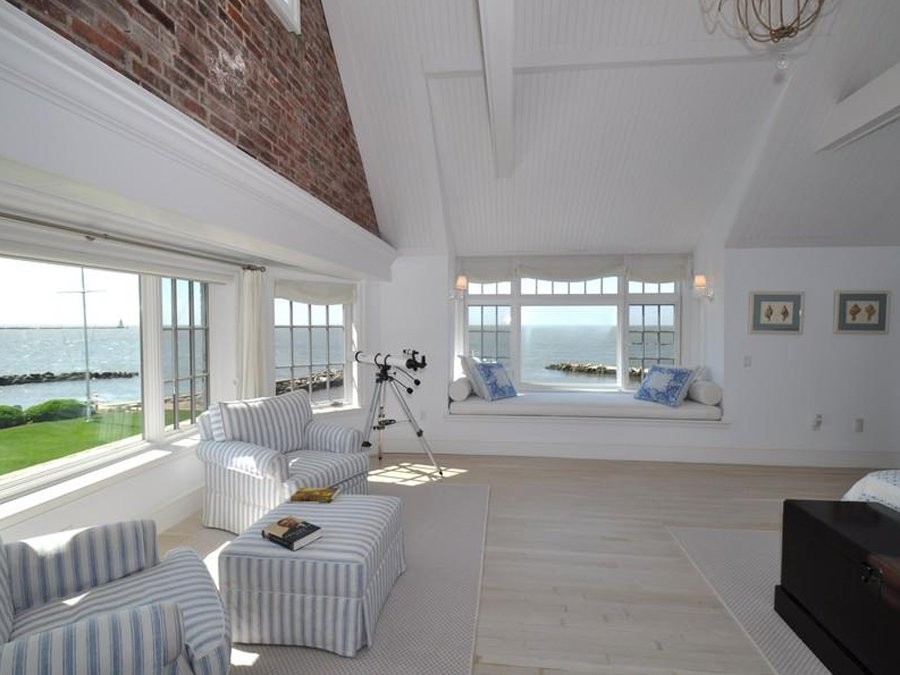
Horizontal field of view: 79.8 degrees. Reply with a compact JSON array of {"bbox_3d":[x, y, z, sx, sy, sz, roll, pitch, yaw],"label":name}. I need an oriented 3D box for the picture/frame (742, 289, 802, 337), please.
[{"bbox_3d":[3.628,-0.276,5.987,0.493,0.528,0.056,0,2,-1],"label":"picture/frame"}]

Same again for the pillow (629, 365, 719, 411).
[{"bbox_3d":[2.623,0.576,6.346,0.887,0.457,0.523,-5,-1,11],"label":"pillow"}]

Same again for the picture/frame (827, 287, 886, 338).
[{"bbox_3d":[4.510,-0.275,5.902,0.510,0.547,0.042,1,-3,6],"label":"picture/frame"}]

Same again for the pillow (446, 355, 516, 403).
[{"bbox_3d":[0.430,0.495,6.642,0.691,0.546,0.387,-4,0,2],"label":"pillow"}]

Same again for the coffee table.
[{"bbox_3d":[-0.845,1.416,3.336,0.737,0.457,0.946,0,5,5],"label":"coffee table"}]

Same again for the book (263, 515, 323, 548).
[{"bbox_3d":[-0.981,1.167,3.254,0.187,0.041,0.182,5,7,30],"label":"book"}]

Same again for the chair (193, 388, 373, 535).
[{"bbox_3d":[-1.371,0.795,4.614,1.113,1.163,1.203,-1,-1,32],"label":"chair"}]

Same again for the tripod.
[{"bbox_3d":[-0.573,0.952,5.930,0.790,1.072,1.062,-4,0,-10],"label":"tripod"}]
